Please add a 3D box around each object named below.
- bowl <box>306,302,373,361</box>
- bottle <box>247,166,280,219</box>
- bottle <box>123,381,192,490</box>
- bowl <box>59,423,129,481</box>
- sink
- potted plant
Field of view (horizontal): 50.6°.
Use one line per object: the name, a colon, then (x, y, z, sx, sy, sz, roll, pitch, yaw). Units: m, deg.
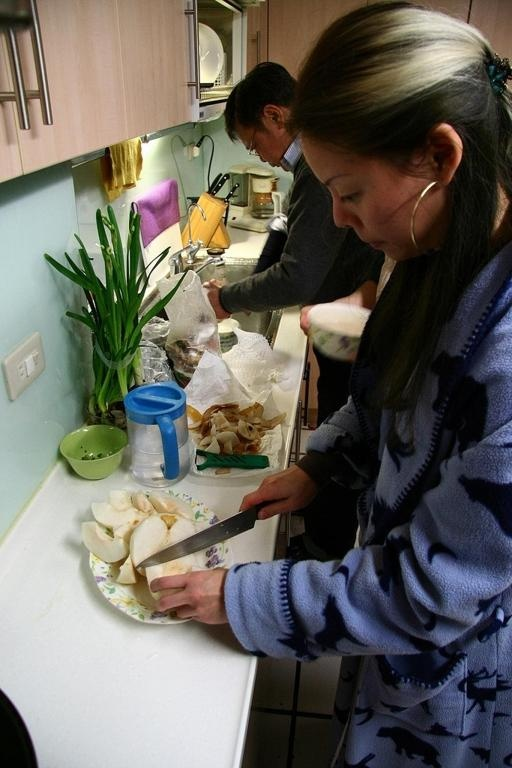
bowl: (0.171, -0.100, 1.315, 0.165, 0.082, 0.166, 14, 11, -3)
bottle: (0.036, -1.057, 3.040, 0.196, 0.257, 0.158, 18, 30, 33)
bottle: (-0.177, 0.116, 1.014, 0.101, 0.163, 0.170, -8, 23, -20)
bowl: (-0.311, 0.141, 1.054, 0.128, 0.074, 0.118, 1, 28, 0)
sink: (-0.110, -0.322, 2.075, 0.375, 0.420, 0.099, 1, -17, -10)
potted plant: (-0.280, -0.133, 1.090, 0.215, 0.400, 0.198, -9, 4, -22)
